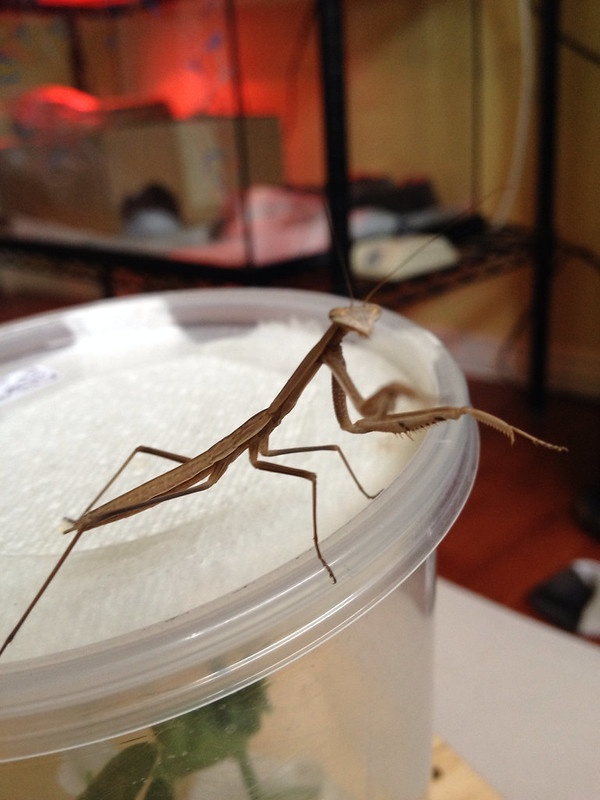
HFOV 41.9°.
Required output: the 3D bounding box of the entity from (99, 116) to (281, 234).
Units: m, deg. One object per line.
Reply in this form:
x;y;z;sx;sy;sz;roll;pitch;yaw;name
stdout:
-0.130;-0.291;0.955;0.261;0.120;0.143;-3;50;-2;entity
